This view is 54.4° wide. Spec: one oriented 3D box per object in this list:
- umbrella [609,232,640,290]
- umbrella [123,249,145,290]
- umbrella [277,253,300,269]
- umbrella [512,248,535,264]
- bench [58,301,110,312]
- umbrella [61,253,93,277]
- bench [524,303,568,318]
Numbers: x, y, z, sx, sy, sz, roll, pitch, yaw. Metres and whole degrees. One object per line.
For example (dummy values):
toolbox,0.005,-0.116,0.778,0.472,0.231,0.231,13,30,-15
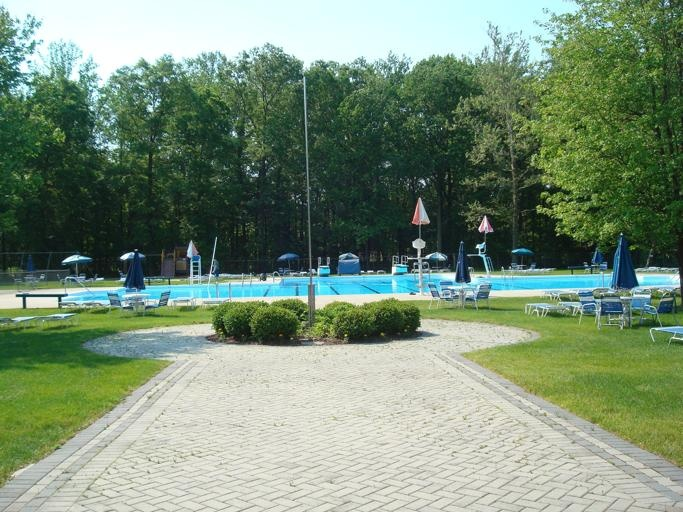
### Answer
umbrella,9.288,0.256,21.865,0.759,1.887,2.165,2,8,22
umbrella,-8.297,0.566,26.540,0.694,1.776,2.187,-4,7,-18
umbrella,-4.564,0.188,57.757,1.609,1.370,1.600,-2,7,-16
umbrella,14.816,-0.128,54.367,1.457,1.279,1.430,1,-4,-9
bench,-10.396,1.977,26.986,1.419,0.350,0.867,2,-2,1
umbrella,-18.718,0.580,46.741,1.746,1.211,1.705,-2,-3,2
bench,7.166,1.753,23.564,1.362,0.568,2.393,1,7,15
